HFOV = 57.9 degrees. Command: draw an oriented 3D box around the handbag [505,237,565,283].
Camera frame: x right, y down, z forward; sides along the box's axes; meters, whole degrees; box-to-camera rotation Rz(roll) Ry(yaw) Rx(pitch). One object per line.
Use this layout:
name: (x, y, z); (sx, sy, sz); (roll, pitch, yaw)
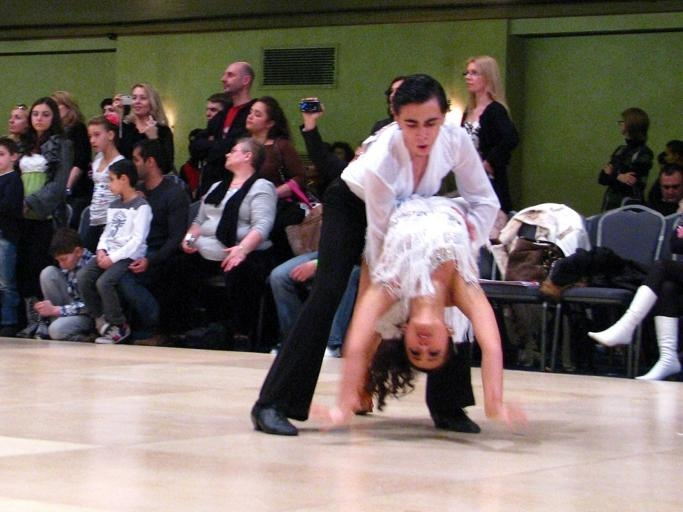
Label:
handbag: (1.482, 0.047, 4.828); (0.367, 0.342, 0.154); (12, 0, 20)

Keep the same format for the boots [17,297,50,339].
boots: (-2.784, 0.592, 5.631); (0.231, 0.434, 0.473); (5, -8, -35)

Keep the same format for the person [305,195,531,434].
person: (0.250, 0.143, 1.992); (0.657, 0.862, 0.368); (3, 3, 1)

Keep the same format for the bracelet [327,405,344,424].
bracelet: (-0.011, 0.523, 2.020); (0.045, 0.056, 0.021); (-3, 5, -6)

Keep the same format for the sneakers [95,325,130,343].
sneakers: (-1.904, 0.657, 5.177); (0.368, 0.156, 0.121); (1, 0, -8)

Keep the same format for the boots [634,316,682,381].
boots: (2.105, 0.620, 4.057); (0.184, 0.432, 0.503); (3, 4, 41)

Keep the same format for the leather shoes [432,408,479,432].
leather shoes: (0.404, 0.595, 2.262); (0.192, 0.077, 0.065); (-1, -1, 38)

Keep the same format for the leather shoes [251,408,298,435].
leather shoes: (-0.222, 0.541, 2.005); (0.176, 0.070, 0.065); (3, 1, 40)

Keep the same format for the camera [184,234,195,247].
camera: (-1.255, -0.130, 5.121); (0.075, 0.100, 0.034); (16, -29, -15)
